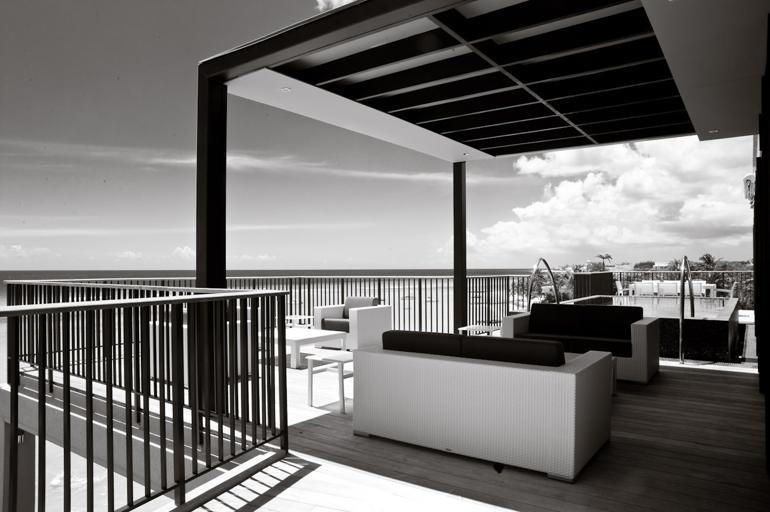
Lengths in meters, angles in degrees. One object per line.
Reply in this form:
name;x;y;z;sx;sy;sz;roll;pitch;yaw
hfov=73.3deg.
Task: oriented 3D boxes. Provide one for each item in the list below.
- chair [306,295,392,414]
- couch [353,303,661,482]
chair;-0.619;1.573;8.544;0.923;1.152;1.738;0;2;21
couch;1.790;1.172;6.362;2.248;1.223;4.117;9;13;39
